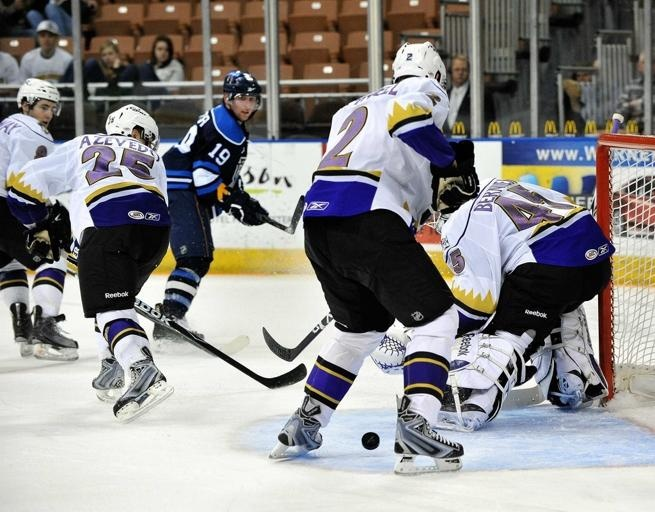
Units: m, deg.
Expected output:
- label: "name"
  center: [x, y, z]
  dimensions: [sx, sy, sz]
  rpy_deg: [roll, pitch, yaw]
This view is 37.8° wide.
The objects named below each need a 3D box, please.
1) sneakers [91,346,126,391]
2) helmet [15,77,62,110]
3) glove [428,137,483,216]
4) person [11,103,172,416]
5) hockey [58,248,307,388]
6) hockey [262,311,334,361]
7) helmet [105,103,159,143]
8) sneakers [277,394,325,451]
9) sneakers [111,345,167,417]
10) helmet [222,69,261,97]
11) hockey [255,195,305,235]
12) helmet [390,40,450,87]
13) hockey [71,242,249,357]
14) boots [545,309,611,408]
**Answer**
- label: "sneakers"
  center: [-0.963, 0.519, 4.235]
  dimensions: [0.086, 0.176, 0.250]
  rpy_deg: [1, -6, -20]
- label: "helmet"
  center: [-1.617, -0.907, 5.391]
  dimensions: [0.205, 0.199, 0.162]
  rpy_deg: [9, 9, -1]
- label: "glove"
  center: [0.444, -0.287, 3.618]
  dimensions: [0.186, 0.236, 0.248]
  rpy_deg: [-6, 2, -34]
- label: "person"
  center: [-0.945, -0.004, 4.169]
  dimensions: [0.605, 1.290, 1.029]
  rpy_deg: [-6, 10, -31]
- label: "hockey"
  center: [-0.785, 0.355, 5.117]
  dimensions: [1.434, 0.184, 0.113]
  rpy_deg: [26, -10, 30]
- label: "hockey"
  center: [-0.143, 0.449, 5.063]
  dimensions: [0.083, 0.247, 0.485]
  rpy_deg: [10, 19, 43]
- label: "helmet"
  center: [-0.908, -0.614, 4.404]
  dimensions: [0.214, 0.184, 0.167]
  rpy_deg: [-8, 15, -34]
- label: "sneakers"
  center: [-0.070, 0.639, 3.615]
  dimensions: [0.090, 0.184, 0.267]
  rpy_deg: [19, -5, 30]
- label: "sneakers"
  center: [-0.789, 0.525, 3.958]
  dimensions: [0.230, 0.252, 0.089]
  rpy_deg: [56, 4, 39]
- label: "helmet"
  center: [-0.498, -0.971, 5.466]
  dimensions: [0.188, 0.148, 0.142]
  rpy_deg: [-7, 14, 19]
- label: "hockey"
  center: [-0.320, -0.295, 6.518]
  dimensions: [0.304, 0.320, 0.013]
  rpy_deg: [24, -4, -8]
- label: "helmet"
  center: [0.357, -0.696, 3.679]
  dimensions: [0.235, 0.219, 0.200]
  rpy_deg: [-5, 8, -38]
- label: "hockey"
  center: [-0.841, 0.340, 5.143]
  dimensions: [0.870, 0.233, 0.110]
  rpy_deg: [24, 45, 19]
- label: "boots"
  center: [1.057, 0.409, 4.097]
  dimensions: [0.265, 0.463, 0.188]
  rpy_deg: [-9, -2, -23]
